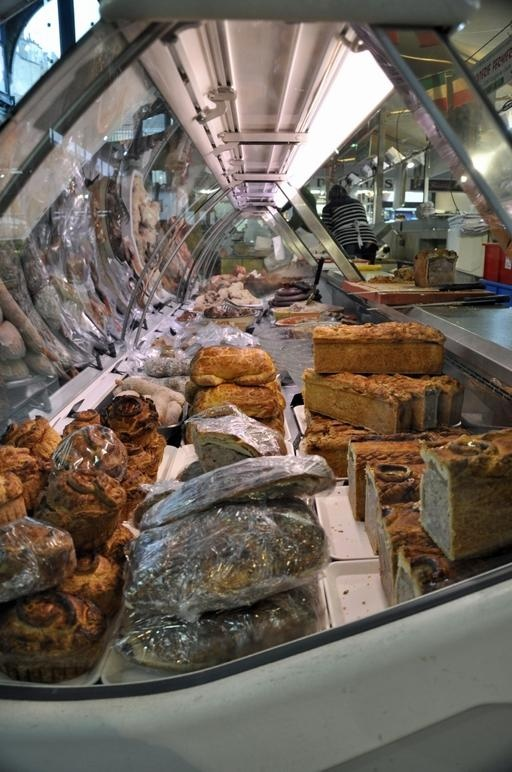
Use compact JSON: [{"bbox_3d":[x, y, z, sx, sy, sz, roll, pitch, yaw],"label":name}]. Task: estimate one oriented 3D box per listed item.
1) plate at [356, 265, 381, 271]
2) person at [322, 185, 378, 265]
[{"bbox_3d":[0.807,-0.841,3.596,0.211,0.048,0.068,-4,1,-30],"label":"plate"},{"bbox_3d":[0.827,-1.303,4.413,0.340,0.913,0.382,-11,4,-5],"label":"person"}]
